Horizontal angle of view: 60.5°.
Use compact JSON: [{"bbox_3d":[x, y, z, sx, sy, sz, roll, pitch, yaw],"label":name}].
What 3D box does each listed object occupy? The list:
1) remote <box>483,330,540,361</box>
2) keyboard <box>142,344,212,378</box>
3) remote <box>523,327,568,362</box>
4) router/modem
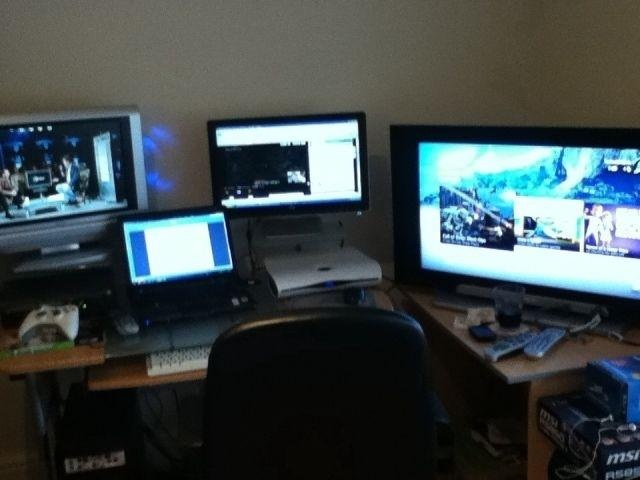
[{"bbox_3d":[0.695,0.374,1.975,0.234,0.065,0.082,-20,26,-26],"label":"remote"},{"bbox_3d":[-0.515,0.437,1.976,0.207,0.066,0.072,-7,16,-5],"label":"keyboard"},{"bbox_3d":[0.832,0.357,2.011,0.071,0.058,0.239,17,20,29],"label":"remote"},{"bbox_3d":[0.000,0.109,2.240,0.268,0.067,0.254,-6,21,-19],"label":"router/modem"}]
